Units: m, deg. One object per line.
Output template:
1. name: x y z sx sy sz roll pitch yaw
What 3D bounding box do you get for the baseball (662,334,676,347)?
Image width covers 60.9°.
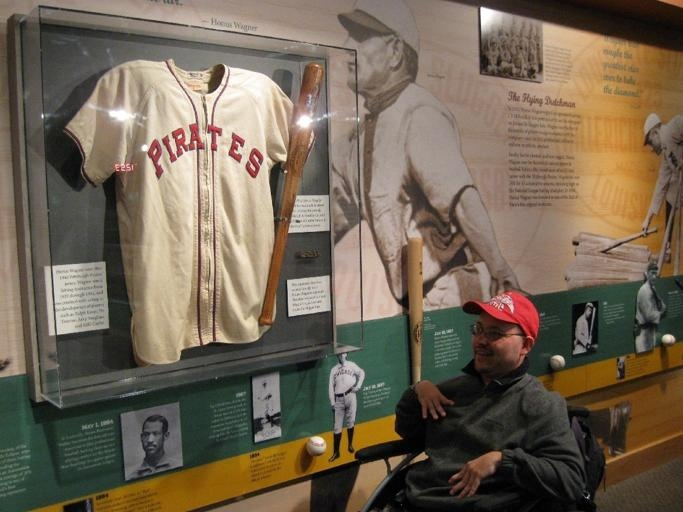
1. baseball: 2.100 0.539 3.742 0.073 0.066 0.079 18 -28 16

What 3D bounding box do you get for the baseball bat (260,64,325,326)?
1. baseball bat: -0.188 -0.272 2.298 0.138 1.423 0.159 7 -1 12
